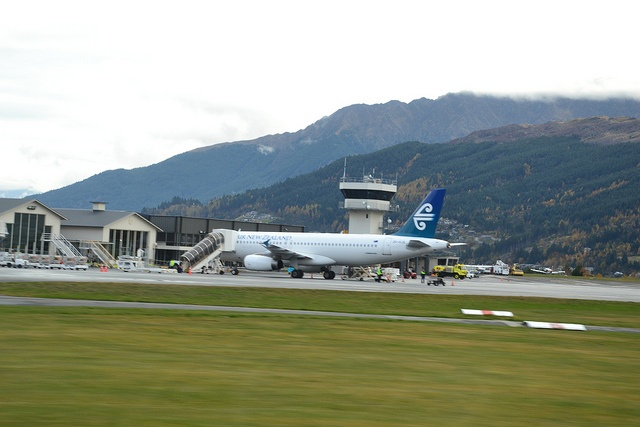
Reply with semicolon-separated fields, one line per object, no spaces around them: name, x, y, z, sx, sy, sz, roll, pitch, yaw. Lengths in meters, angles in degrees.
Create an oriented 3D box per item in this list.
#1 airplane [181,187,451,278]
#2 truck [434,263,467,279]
airplane;0.188;1.442;78.464;21.493;8.331;5.525;5;0;6
truck;17.272;7.511;112.041;4.584;1.632;2.105;-1;3;-15
